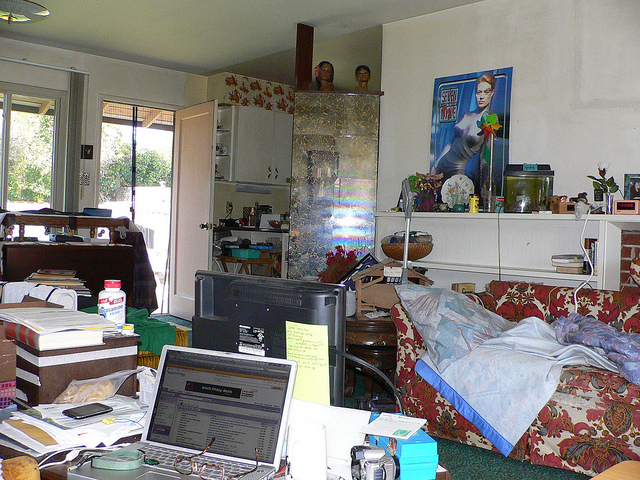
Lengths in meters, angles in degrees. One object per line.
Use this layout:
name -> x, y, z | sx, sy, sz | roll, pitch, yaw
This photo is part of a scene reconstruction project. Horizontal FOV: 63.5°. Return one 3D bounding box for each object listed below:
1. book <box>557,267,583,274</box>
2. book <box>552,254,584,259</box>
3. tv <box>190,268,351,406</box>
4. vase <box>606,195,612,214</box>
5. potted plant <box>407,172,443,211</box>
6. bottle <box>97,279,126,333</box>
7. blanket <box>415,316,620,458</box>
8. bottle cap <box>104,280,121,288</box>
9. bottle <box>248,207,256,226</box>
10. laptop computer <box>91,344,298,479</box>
book -> 1.809, 0.217, 3.736 | 0.164, 0.047, 0.050 | 3, 5, 26
book -> 1.850, 0.122, 3.795 | 0.257, 0.032, 0.160 | -2, 5, -33
tv -> -0.174, 0.316, 1.637 | 0.510, 0.419, 0.057 | 3, 12, 18
vase -> 2.014, -0.254, 3.593 | 0.030, 0.126, 0.064 | 3, 5, 32
potted plant -> 0.918, -0.418, 4.488 | 0.295, 0.348, 0.122 | 1, 23, 8
bottle -> -0.764, 0.243, 1.911 | 0.128, 0.190, 0.132 | -3, 0, 0
blanket -> 1.310, 0.702, 3.044 | 1.065, 0.347, 0.994 | -21, -1, 7
bottle cap -> -0.763, 0.163, 1.907 | 0.051, 0.032, 0.088 | -1, 5, -25
bottle -> -0.942, -0.324, 7.186 | 0.101, 0.233, 0.299 | 0, 4, -8
laptop computer -> -0.281, 0.480, 1.460 | 0.380, 0.381, 0.226 | 9, -2, 22
